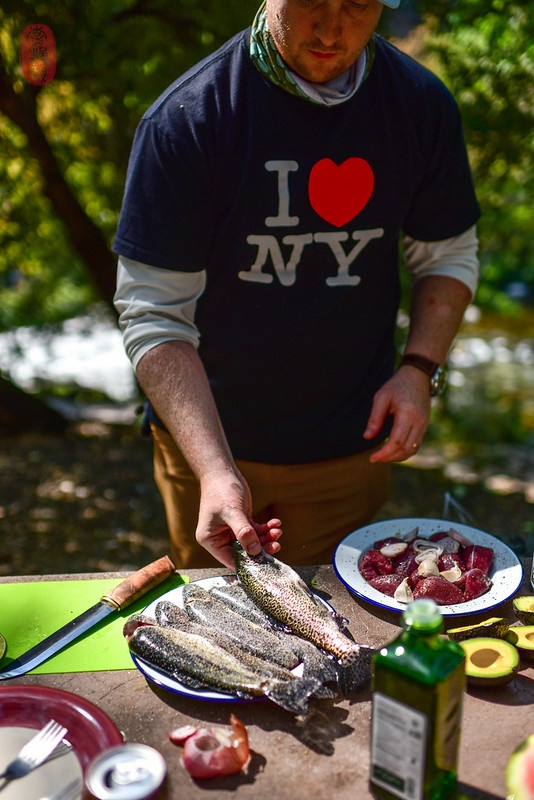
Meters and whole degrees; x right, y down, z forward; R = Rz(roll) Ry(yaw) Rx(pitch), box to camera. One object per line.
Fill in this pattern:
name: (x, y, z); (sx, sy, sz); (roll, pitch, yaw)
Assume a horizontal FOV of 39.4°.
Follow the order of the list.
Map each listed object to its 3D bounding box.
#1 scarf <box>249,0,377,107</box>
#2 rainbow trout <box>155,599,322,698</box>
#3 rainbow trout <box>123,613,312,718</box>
scarf: (0.095, -0.874, 1.999); (0.291, 0.321, 0.134); (-9, -5, -16)
rainbow trout: (-0.052, 0.502, 1.494); (0.365, 0.060, 0.108); (15, 8, 34)
rainbow trout: (-0.053, 0.502, 1.470); (0.570, 0.102, 0.148); (-11, 37, 28)
